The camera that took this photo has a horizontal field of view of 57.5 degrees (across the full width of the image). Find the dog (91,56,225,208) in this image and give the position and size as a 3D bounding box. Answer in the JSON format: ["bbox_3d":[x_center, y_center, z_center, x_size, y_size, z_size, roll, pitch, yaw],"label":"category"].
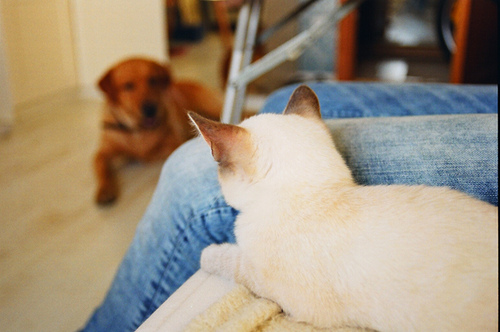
[{"bbox_3d":[-0.574,-0.233,2.120,0.396,0.642,1.125,-5,14,-17],"label":"dog"}]
